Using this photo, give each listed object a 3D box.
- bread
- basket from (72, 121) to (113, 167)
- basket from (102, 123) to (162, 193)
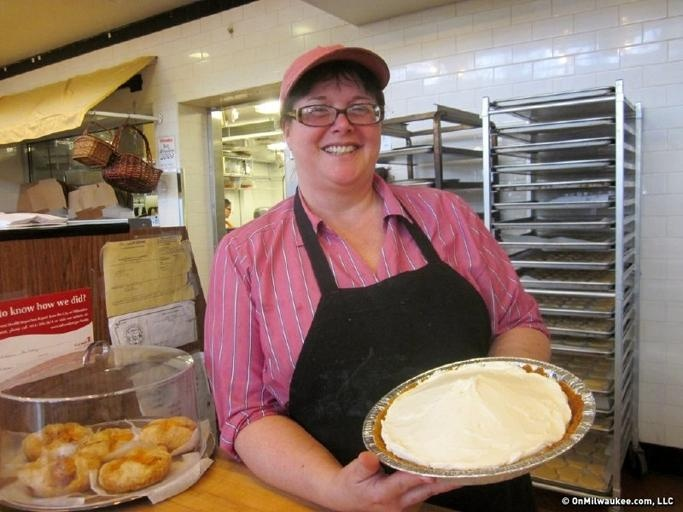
[{"bbox_3d":[-0.586,0.487,1.269,0.289,0.052,0.181,3,11,-7],"label":"bread"},{"bbox_3d":[-2.180,-0.945,4.378,0.406,0.343,0.291,0,5,31],"label":"basket"},{"bbox_3d":[-1.904,-0.914,4.621,0.380,0.555,0.456,-2,-8,24],"label":"basket"}]
